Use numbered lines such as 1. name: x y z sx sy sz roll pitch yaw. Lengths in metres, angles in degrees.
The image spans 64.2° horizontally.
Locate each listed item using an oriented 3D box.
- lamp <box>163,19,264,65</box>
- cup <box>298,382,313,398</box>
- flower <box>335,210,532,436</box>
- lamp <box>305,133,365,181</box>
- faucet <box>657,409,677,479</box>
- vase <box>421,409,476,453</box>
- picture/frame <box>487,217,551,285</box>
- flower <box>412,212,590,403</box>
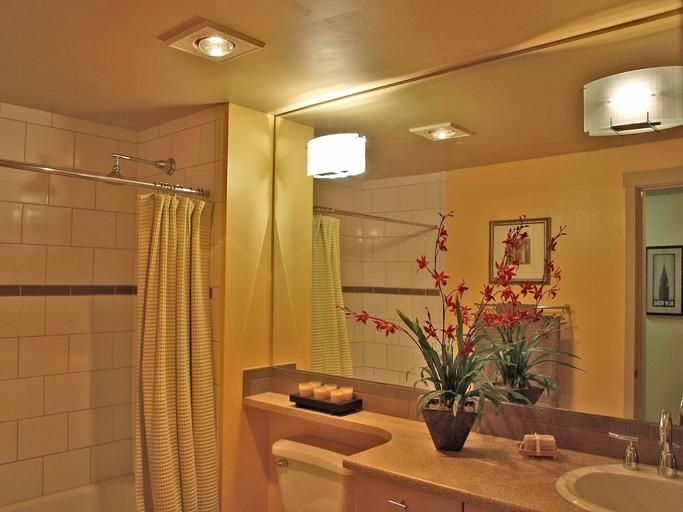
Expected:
1. lamp: -0.605 -1.004 2.529 0.415 0.123 0.309 3 9 32
2. cup: -0.203 0.743 3.003 0.066 0.064 0.068 0 -6 0
3. flower: 0.491 0.442 2.449 0.721 0.673 0.506 13 -9 8
4. lamp: -0.035 -0.590 3.164 0.409 0.261 0.236 -4 -5 25
5. faucet: 1.286 0.731 2.143 0.069 0.246 0.126 3 9 31
6. vase: 0.465 0.748 2.352 0.209 0.156 0.189 -2 -13 12
7. picture/frame: 0.827 -0.020 2.508 0.296 0.357 0.024 -2 -8 37
8. flower: 0.671 0.304 2.738 1.008 1.063 0.739 0 -4 22
